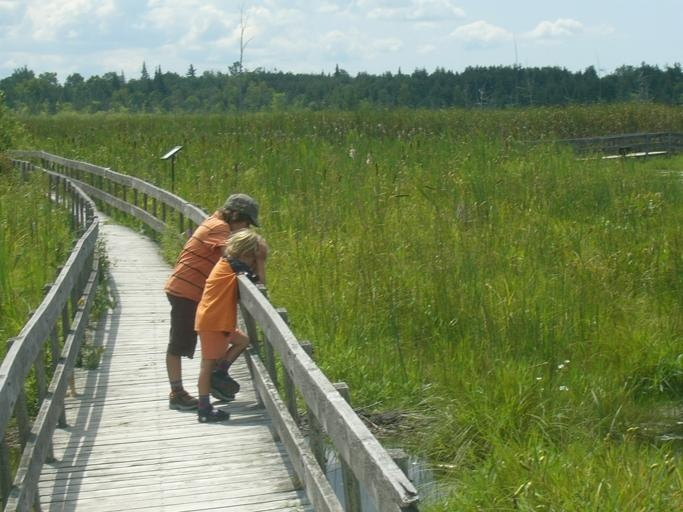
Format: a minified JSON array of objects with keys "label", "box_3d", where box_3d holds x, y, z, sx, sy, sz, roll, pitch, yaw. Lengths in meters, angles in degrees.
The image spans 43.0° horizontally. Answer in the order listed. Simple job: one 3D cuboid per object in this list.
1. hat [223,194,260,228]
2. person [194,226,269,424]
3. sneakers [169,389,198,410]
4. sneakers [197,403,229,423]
[{"label":"hat","box_3d":[-1.007,-0.488,9.203,0.466,0.290,0.376,21,-7,-7]},{"label":"person","box_3d":[-1.111,0.683,8.634,0.549,1.863,0.727,6,8,41]},{"label":"sneakers","box_3d":[-1.598,1.473,8.797,0.302,0.173,0.143,1,1,3]},{"label":"sneakers","box_3d":[-1.272,1.557,8.598,0.280,0.217,0.150,-1,0,-6]}]
